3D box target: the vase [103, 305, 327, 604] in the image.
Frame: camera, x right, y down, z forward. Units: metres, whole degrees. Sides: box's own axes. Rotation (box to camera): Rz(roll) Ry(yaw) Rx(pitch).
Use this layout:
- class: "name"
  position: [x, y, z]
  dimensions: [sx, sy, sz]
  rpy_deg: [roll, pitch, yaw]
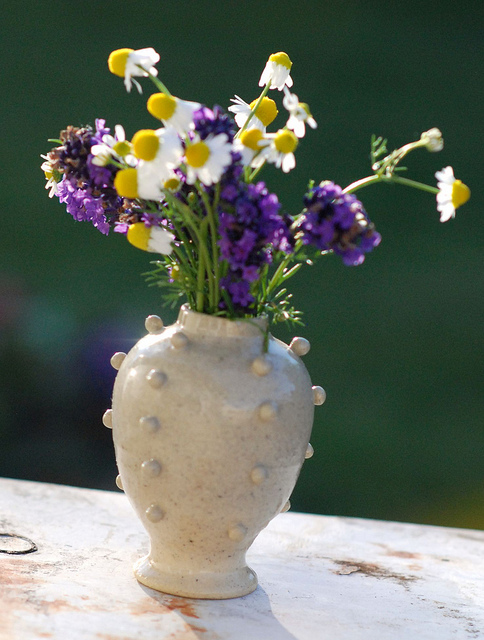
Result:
- class: "vase"
  position: [-0.059, 0.190, 1.363]
  dimensions: [0.384, 0.416, 0.292]
  rpy_deg: [9, 10, 11]

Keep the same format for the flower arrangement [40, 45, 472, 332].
- class: "flower arrangement"
  position: [0.000, -0.134, 1.271]
  dimensions: [0.545, 0.317, 0.321]
  rpy_deg: [5, 9, 22]
